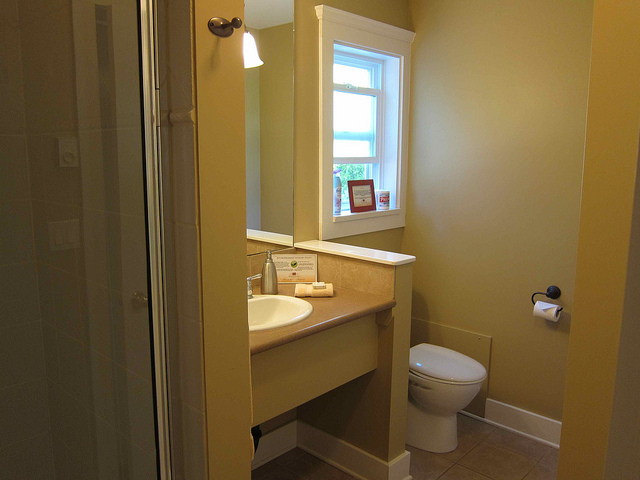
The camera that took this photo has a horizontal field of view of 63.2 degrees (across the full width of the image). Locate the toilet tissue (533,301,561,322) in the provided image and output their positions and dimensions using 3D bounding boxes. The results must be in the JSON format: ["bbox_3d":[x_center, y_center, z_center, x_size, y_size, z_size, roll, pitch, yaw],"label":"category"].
[{"bbox_3d":[1.144,0.360,2.628,0.046,0.083,0.124,23,-11,-39],"label":"toilet tissue"}]

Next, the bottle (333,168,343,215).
[{"bbox_3d":[0.095,-0.257,2.836,0.038,0.232,0.117,1,10,7],"label":"bottle"}]

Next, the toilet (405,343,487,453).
[{"bbox_3d":[0.604,0.827,2.724,0.455,0.495,0.368,12,16,43],"label":"toilet"}]

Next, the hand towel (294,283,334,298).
[{"bbox_3d":[-0.027,0.209,2.321,0.168,0.043,0.154,0,12,0],"label":"hand towel"}]

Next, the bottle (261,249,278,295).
[{"bbox_3d":[-0.220,0.150,2.332,0.074,0.166,0.137,1,11,6],"label":"bottle"}]

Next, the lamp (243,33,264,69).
[{"bbox_3d":[-0.303,-0.859,2.367,0.101,0.149,0.032,-9,13,-40],"label":"lamp"}]
